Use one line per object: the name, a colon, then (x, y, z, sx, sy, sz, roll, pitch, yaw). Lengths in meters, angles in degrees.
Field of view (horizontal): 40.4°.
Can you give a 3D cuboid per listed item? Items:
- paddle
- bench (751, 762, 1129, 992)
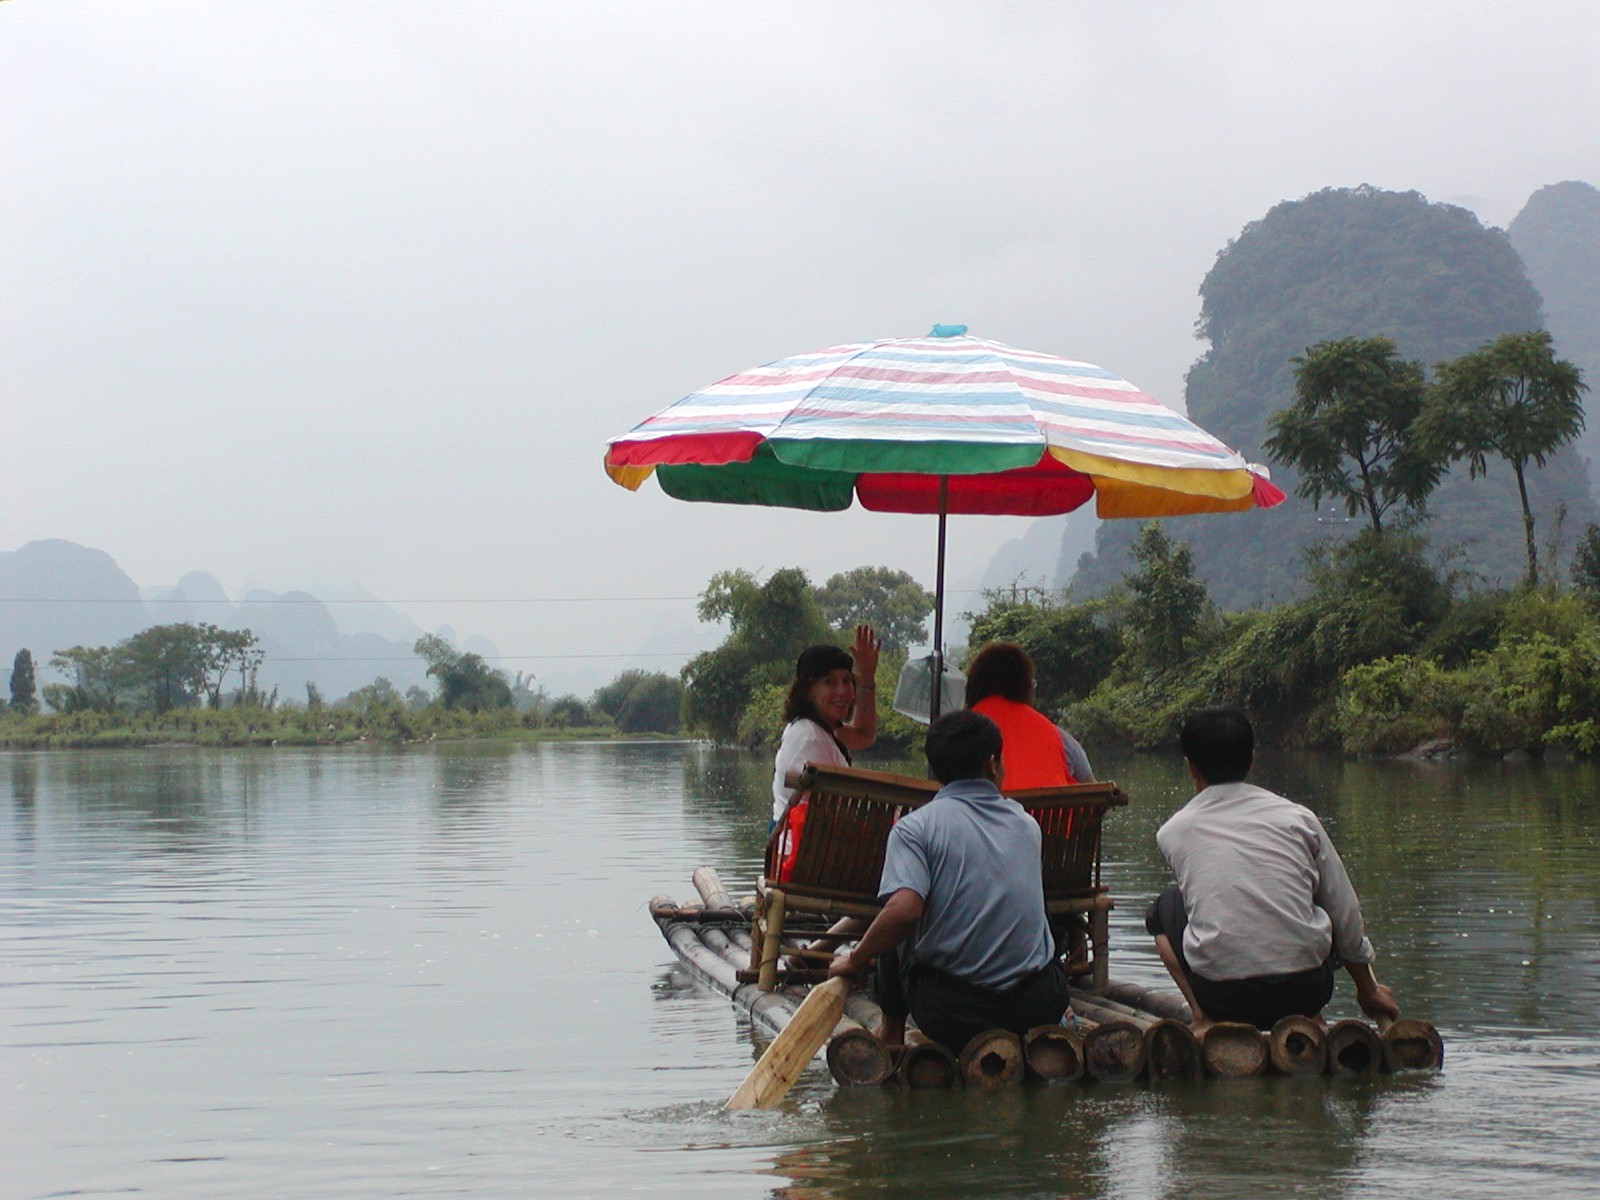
paddle: (0.132, 2.629, 13.251, 1.375, 0.371, 0.120, -44, -23, 13)
bench: (0.824, 2.136, 14.737, 2.142, 1.394, 1.426, 2, -8, -4)
